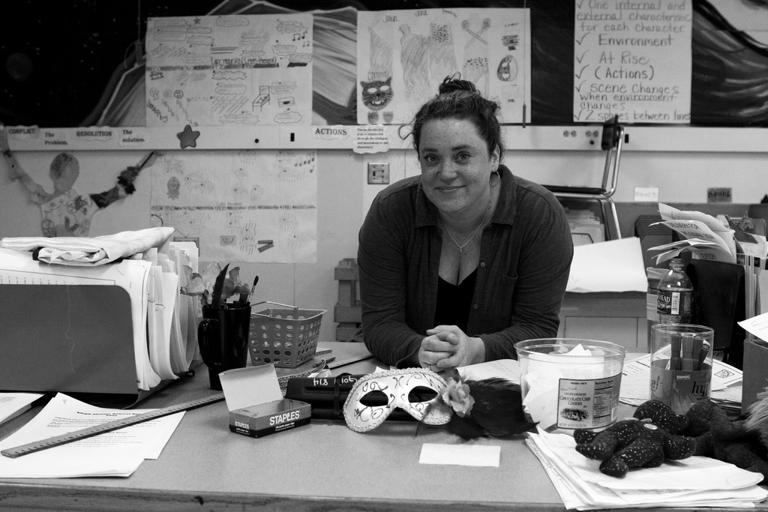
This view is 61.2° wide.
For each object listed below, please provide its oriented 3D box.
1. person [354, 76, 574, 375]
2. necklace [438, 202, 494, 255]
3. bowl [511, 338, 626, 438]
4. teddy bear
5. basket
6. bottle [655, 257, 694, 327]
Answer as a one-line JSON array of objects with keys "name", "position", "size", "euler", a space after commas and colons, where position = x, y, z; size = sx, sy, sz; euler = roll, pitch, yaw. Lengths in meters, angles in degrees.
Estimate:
[{"name": "person", "position": [0.231, -0.133, 2.113], "size": [0.624, 0.897, 0.507], "euler": [-4, 6, -41]}, {"name": "necklace", "position": [0.273, -0.093, 2.177], "size": [0.128, 0.175, 0.042], "euler": [1, 6, 8]}, {"name": "bowl", "position": [0.440, 0.277, 1.559], "size": [0.270, 0.188, 0.273], "euler": [0, 14, 0]}, {"name": "teddy bear", "position": [0.519, 0.376, 1.353], "size": [0.169, 0.062, 0.138], "euler": [-7, 20, -20]}, {"name": "basket", "position": [-0.285, 0.249, 1.976], "size": [0.152, 0.113, 0.220], "euler": [2, -4, 13]}, {"name": "bottle", "position": [0.826, 0.103, 1.841], "size": [0.094, 0.194, 0.179], "euler": [1, 4, 23]}]
